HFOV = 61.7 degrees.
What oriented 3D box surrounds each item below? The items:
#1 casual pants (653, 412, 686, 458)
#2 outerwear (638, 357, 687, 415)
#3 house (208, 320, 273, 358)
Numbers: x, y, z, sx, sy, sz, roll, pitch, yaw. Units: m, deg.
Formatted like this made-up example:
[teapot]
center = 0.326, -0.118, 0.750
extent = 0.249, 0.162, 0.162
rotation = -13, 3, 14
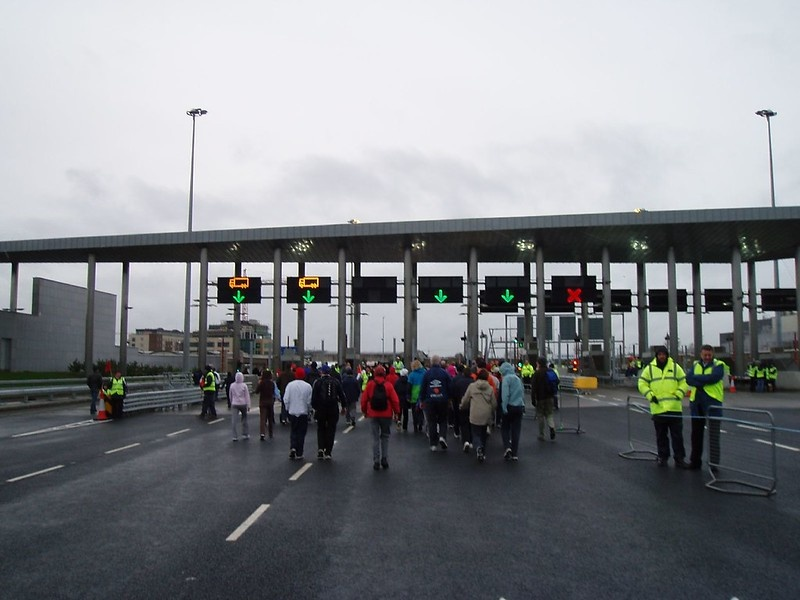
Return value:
[casual pants]
center = 5.550, 2.811, 13.844
extent = 0.563, 1.033, 0.829
rotation = -4, -5, 22
[outerwear]
center = 5.440, 1.768, 13.799
extent = 0.903, 1.163, 0.551
rotation = -5, -5, 23
[house]
center = -29.055, 7.227, 121.017
extent = 8.895, 5.410, 14.293
rotation = 0, -5, -3
